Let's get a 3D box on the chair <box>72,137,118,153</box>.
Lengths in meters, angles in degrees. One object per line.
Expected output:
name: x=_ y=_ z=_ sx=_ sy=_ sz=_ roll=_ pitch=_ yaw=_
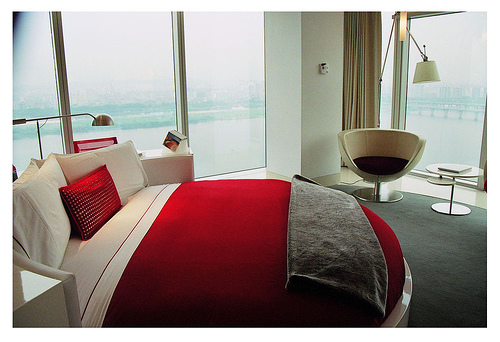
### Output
chair: x=-1.771 y=-0.289 z=3.654 sx=0.305 sy=0.193 sz=0.111 roll=-12 pitch=25 yaw=-33

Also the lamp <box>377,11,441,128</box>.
lamp: x=2.463 y=-1.563 z=4.958 sx=0.867 sy=1.844 sz=1.226 roll=0 pitch=15 yaw=16

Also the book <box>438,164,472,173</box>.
book: x=2.461 y=-0.030 z=3.877 sx=0.183 sy=0.038 sz=0.180 roll=-9 pitch=14 yaw=-32

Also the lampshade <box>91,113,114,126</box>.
lampshade: x=-1.642 y=-0.562 z=3.564 sx=0.175 sy=0.111 sz=0.176 roll=3 pitch=12 yaw=13

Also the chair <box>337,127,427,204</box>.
chair: x=1.769 y=-0.072 z=4.483 sx=1.091 sy=0.942 sz=0.958 roll=0 pitch=14 yaw=12

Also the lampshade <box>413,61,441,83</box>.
lampshade: x=2.418 y=-1.352 z=4.444 sx=0.303 sy=0.319 sz=0.305 roll=0 pitch=9 yaw=16

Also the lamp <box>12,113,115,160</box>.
lamp: x=-1.924 y=-0.372 z=3.497 sx=0.796 sy=0.534 sz=1.844 roll=-12 pitch=16 yaw=-28

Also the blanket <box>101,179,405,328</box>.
blanket: x=0.113 y=0.582 z=2.342 sx=1.708 sy=0.499 sz=1.456 roll=-2 pitch=15 yaw=6

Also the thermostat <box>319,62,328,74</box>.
thermostat: x=1.114 y=-1.564 z=4.863 sx=0.166 sy=0.173 sz=0.058 roll=-15 pitch=18 yaw=-35

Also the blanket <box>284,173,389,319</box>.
blanket: x=0.648 y=0.446 z=2.523 sx=0.681 sy=0.191 sz=1.766 roll=8 pitch=17 yaw=7
